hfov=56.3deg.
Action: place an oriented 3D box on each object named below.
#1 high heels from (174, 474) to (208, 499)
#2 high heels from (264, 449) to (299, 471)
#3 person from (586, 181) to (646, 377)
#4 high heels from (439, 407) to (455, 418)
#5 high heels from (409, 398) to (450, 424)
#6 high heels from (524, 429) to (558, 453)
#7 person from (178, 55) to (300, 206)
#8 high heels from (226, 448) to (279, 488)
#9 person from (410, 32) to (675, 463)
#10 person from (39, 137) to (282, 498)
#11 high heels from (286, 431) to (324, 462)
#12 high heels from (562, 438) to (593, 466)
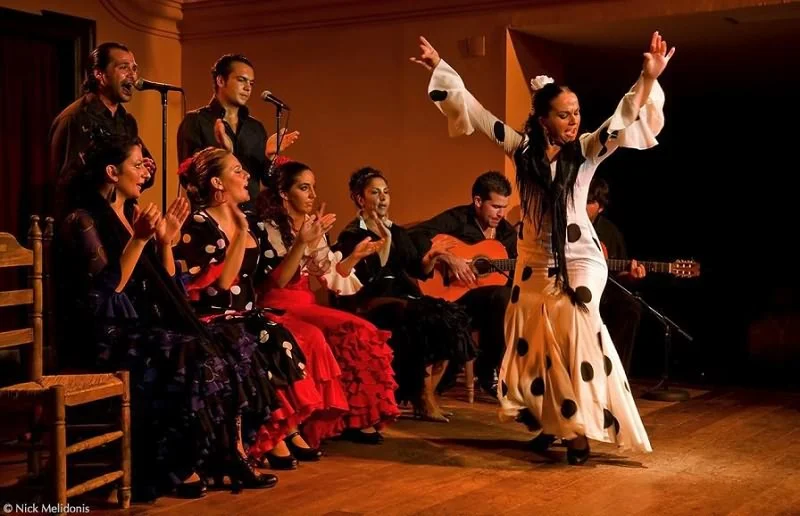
[{"bbox_3d":[-1.127,1.269,4.143,0.178,0.139,0.110,1,-9,7],"label":"high heels"},{"bbox_3d":[-0.687,1.209,4.421,0.215,0.094,0.078,-3,-5,15],"label":"high heels"},{"bbox_3d":[1.842,0.123,6.158,0.601,1.621,0.207,4,-16,-27],"label":"person"},{"bbox_3d":[0.349,1.154,5.571,0.141,0.108,0.050,-4,6,18],"label":"high heels"},{"bbox_3d":[0.216,1.120,5.398,0.345,0.188,0.119,-1,-4,15],"label":"high heels"},{"bbox_3d":[0.906,1.170,4.765,0.226,0.108,0.102,-1,5,-10],"label":"high heels"},{"bbox_3d":[-1.234,-0.760,5.690,0.811,1.538,0.673,1,0,-29],"label":"person"},{"bbox_3d":[-0.826,1.191,4.229,0.361,0.188,0.130,5,3,9],"label":"high heels"},{"bbox_3d":[0.877,-0.030,4.640,1.471,2.664,0.720,2,15,22],"label":"person"},{"bbox_3d":[-1.289,0.280,4.310,1.072,2.005,0.990,-3,-1,21],"label":"person"},{"bbox_3d":[-0.586,1.164,4.592,0.309,0.146,0.107,17,3,29],"label":"high heels"},{"bbox_3d":[1.094,1.195,4.579,0.139,0.180,0.410,-2,-6,11],"label":"high heels"}]
